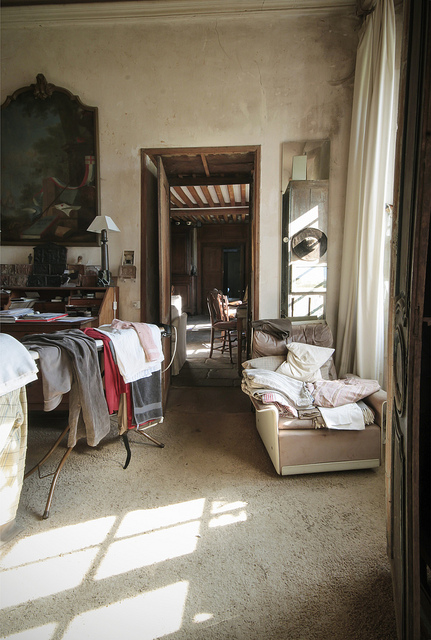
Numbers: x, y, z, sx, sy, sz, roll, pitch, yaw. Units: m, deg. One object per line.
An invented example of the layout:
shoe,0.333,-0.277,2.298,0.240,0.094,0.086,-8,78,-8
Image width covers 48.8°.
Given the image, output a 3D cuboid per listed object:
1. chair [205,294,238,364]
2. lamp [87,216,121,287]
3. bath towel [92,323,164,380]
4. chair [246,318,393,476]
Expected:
chair,0.144,0.053,6.119,0.490,0.876,0.431,8,9,38
lamp,-0.910,-0.550,3.842,0.185,0.517,0.218,4,5,11
bath towel,-0.473,0.154,2.557,0.223,0.296,0.334,3,6,5
chair,0.588,0.422,3.011,0.672,0.773,0.950,-2,2,-1
